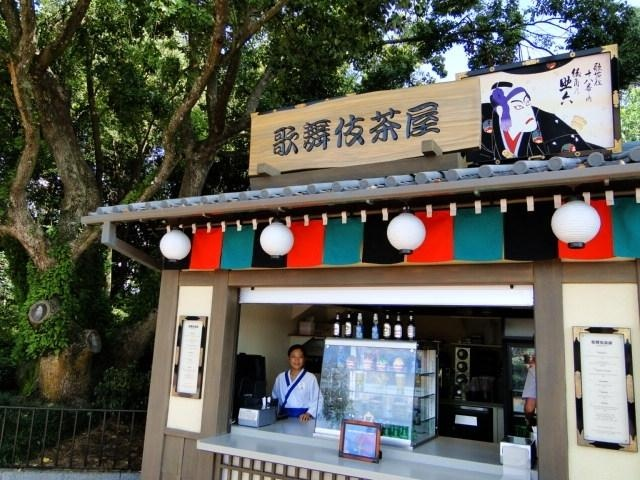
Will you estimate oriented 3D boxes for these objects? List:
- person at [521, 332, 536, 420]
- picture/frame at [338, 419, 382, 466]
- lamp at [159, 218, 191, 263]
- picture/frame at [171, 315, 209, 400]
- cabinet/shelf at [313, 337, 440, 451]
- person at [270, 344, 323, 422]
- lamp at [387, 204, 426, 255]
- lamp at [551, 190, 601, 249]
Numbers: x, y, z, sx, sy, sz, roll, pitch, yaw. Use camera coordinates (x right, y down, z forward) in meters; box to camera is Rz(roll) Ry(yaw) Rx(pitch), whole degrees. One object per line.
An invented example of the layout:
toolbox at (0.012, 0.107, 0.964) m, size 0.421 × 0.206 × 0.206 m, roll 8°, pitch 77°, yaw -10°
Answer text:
person at (2.772, 1.937, 6.911) m, size 0.173 × 0.889 × 0.428 m, roll -3°, pitch -12°, yaw 18°
picture/frame at (0.474, 2.423, 6.223) m, size 0.420 × 0.376 × 0.056 m, roll -4°, pitch -28°, yaw 20°
lamp at (-2.004, 0.099, 7.202) m, size 0.442 × 0.549 × 0.439 m, roll -1°, pitch 4°, yaw -23°
picture/frame at (-1.837, 1.637, 7.362) m, size 0.575 × 1.116 × 0.128 m, roll -7°, pitch -14°, yaw 34°
cabinet/shelf at (0.738, 1.946, 6.848) m, size 1.511 × 1.305 × 0.622 m, roll -2°, pitch -12°, yaw 13°
person at (-0.369, 2.196, 8.194) m, size 1.078 × 1.454 × 0.875 m, roll -1°, pitch -14°, yaw -2°
lamp at (0.901, -0.110, 5.950) m, size 0.455 × 0.544 × 0.445 m, roll 1°, pitch -12°, yaw 0°
lamp at (2.646, -0.201, 5.401) m, size 0.466 × 0.566 × 0.468 m, roll -1°, pitch 0°, yaw 26°
